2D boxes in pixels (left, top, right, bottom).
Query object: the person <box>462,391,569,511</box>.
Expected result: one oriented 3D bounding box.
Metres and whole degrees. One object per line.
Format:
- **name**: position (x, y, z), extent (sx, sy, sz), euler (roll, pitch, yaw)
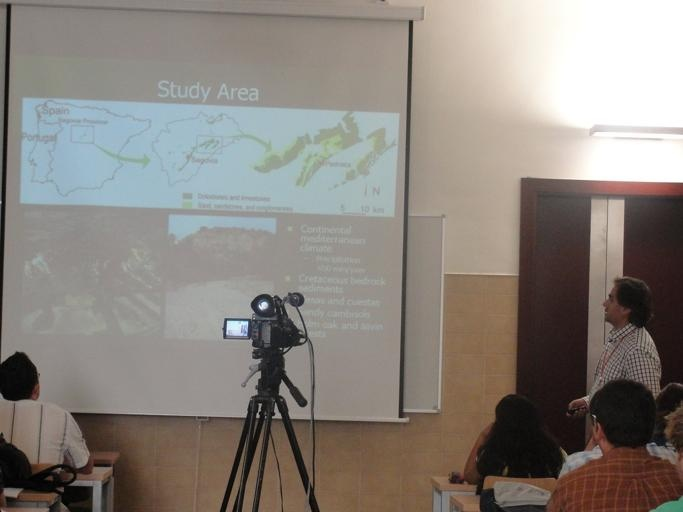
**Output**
- **person**: position (1.065, 1.133, 5.629), extent (0.675, 1.055, 0.574), euler (2, 10, 14)
